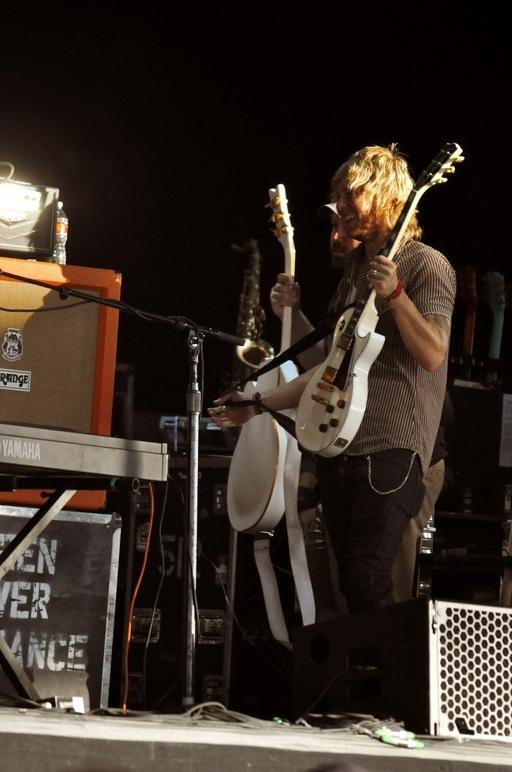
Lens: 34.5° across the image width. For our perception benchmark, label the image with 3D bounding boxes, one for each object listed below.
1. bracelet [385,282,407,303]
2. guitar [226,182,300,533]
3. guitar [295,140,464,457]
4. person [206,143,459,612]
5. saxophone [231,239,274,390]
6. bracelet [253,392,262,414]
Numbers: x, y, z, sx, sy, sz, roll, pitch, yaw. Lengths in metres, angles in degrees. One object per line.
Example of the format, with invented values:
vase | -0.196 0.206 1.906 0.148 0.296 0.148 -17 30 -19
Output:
bracelet | 0.307 -0.206 1.814 0.044 0.017 0.034 -39 5 -12
guitar | 0.064 0.014 2.694 0.247 1.281 0.222 -3 6 -37
guitar | 0.291 -0.207 2.003 0.103 0.791 0.267 21 2 -19
person | 0.234 0.023 2.065 0.443 1.204 0.755 9 -11 -26
saxophone | -0.014 -0.389 4.174 0.201 0.812 0.235 0 4 -28
bracelet | 0.006 0.052 2.302 0.015 0.048 0.037 4 5 3
